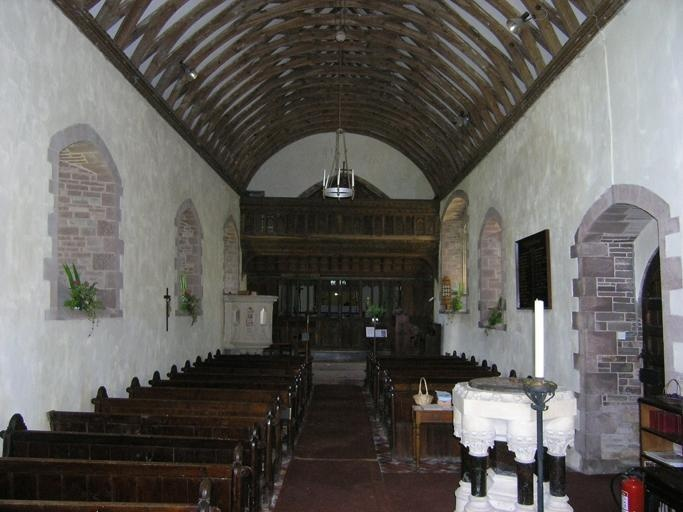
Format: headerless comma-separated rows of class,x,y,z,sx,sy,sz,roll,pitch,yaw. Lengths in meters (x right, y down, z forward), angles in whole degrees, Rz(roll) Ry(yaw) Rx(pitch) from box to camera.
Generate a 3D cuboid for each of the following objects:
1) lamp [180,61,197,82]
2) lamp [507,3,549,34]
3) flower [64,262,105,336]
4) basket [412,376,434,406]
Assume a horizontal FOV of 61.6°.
lamp,-2.729,-3.294,10.225,0.278,0.256,0.487,-1,-1,-13
lamp,2.770,-3.540,8.556,0.563,0.460,0.577,-1,-1,21
flower,-3.652,0.614,8.136,0.470,0.771,0.994,-1,-1,-24
basket,1.165,1.934,8.219,0.338,0.500,0.328,5,-7,-26
